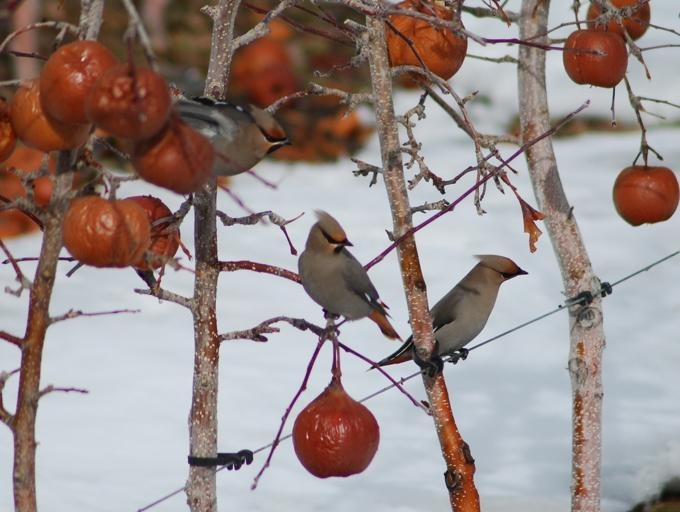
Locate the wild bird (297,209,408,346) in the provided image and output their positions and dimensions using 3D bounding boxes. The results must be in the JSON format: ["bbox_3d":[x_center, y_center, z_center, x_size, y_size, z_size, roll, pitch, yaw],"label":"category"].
[{"bbox_3d":[0.033,0.063,3.672,0.403,0.363,0.217,4,8,-29],"label":"wild bird"}]

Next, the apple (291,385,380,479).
[{"bbox_3d":[-0.013,0.546,3.607,0.258,0.308,0.276,-2,13,-10],"label":"apple"}]

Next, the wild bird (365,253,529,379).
[{"bbox_3d":[0.369,0.215,4.062,0.529,0.442,0.209,-1,-16,16],"label":"wild bird"}]

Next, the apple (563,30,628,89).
[{"bbox_3d":[0.858,-0.659,3.813,0.218,0.204,0.222,4,11,12],"label":"apple"}]
